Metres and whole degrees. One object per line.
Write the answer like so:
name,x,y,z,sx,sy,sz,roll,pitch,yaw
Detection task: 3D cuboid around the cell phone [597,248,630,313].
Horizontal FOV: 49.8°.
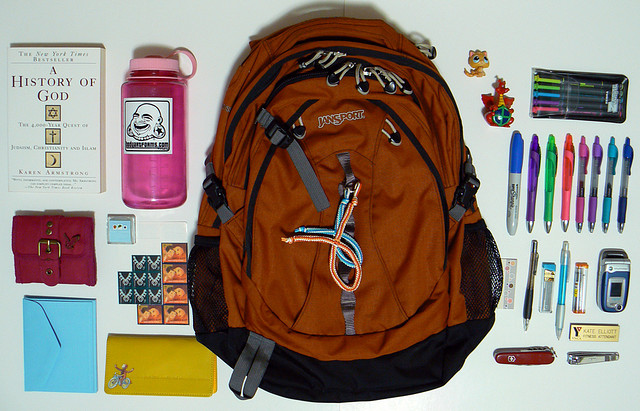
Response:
cell phone,0.858,0.221,2.014,0.080,0.189,0.051,0,13,-1

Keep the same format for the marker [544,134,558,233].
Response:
marker,0.672,-0.066,1.998,0.040,0.285,0.034,0,-2,7

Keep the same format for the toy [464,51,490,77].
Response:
toy,0.452,-0.408,1.962,0.074,0.083,0.057,-1,3,-12

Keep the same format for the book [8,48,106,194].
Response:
book,-0.757,-0.247,1.984,0.278,0.410,0.052,0,-2,1

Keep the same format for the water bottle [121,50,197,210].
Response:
water bottle,-0.463,-0.220,1.963,0.216,0.450,0.121,1,-2,-12

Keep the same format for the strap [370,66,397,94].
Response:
strap,0.173,-0.327,1.848,0.045,0.092,0.020,-31,9,-9

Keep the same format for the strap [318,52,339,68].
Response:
strap,0.021,-0.389,1.827,0.039,0.041,0.012,-43,3,6

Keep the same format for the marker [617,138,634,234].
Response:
marker,0.892,-0.059,2.010,0.033,0.279,0.036,1,-2,-17

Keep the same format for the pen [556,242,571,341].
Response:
pen,0.709,0.246,2.010,0.037,0.283,0.026,-1,-2,24

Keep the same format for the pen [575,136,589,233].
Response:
pen,0.760,-0.067,2.000,0.033,0.266,0.028,1,6,2

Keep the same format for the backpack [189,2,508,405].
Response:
backpack,0.066,-0.038,1.893,0.792,1.093,0.319,-1,4,-2

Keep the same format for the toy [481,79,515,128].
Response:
toy,0.518,-0.297,1.968,0.095,0.145,0.039,5,-9,-13

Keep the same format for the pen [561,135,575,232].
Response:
pen,0.717,-0.066,1.994,0.034,0.261,0.037,-1,9,-3

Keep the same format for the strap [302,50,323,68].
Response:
strap,-0.021,-0.394,1.829,0.012,0.042,0.011,36,14,-45

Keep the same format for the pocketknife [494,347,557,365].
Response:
pocketknife,0.600,0.438,2.004,0.098,0.033,0.079,0,-5,2

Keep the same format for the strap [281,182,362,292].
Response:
strap,0.043,0.130,1.995,0.231,0.288,0.243,24,35,33

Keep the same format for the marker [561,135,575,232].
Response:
marker,0.720,-0.069,2.000,0.036,0.278,0.039,1,4,0

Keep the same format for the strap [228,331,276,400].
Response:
strap,-0.188,0.435,1.887,0.099,0.203,0.033,19,2,6

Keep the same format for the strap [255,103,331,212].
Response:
strap,-0.074,-0.135,1.863,0.196,0.285,0.045,1,-2,-16

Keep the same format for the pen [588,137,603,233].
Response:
pen,0.800,-0.060,2.004,0.035,0.279,0.031,2,3,4
